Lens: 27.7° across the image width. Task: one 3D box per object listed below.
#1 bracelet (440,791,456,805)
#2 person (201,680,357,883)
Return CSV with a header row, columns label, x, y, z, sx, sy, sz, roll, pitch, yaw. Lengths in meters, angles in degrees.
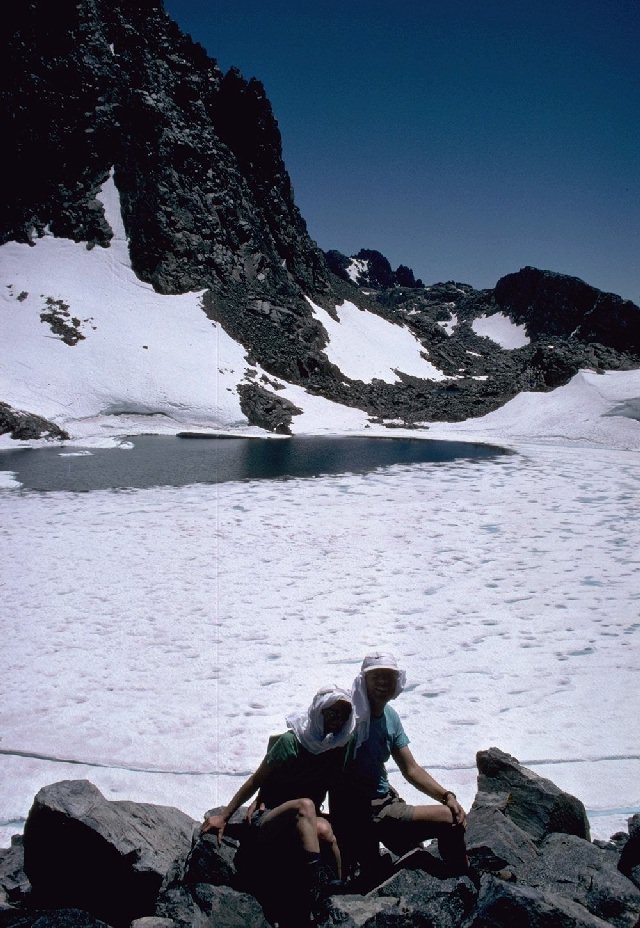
label,x,y,z,sx,sy,sz,roll,pitch,yaw
bracelet,1.100,2.862,11.121,0.129,0.121,0.089,4,-3,-7
person,-0.264,2.649,10.982,1.044,1.567,0.555,5,3,2
